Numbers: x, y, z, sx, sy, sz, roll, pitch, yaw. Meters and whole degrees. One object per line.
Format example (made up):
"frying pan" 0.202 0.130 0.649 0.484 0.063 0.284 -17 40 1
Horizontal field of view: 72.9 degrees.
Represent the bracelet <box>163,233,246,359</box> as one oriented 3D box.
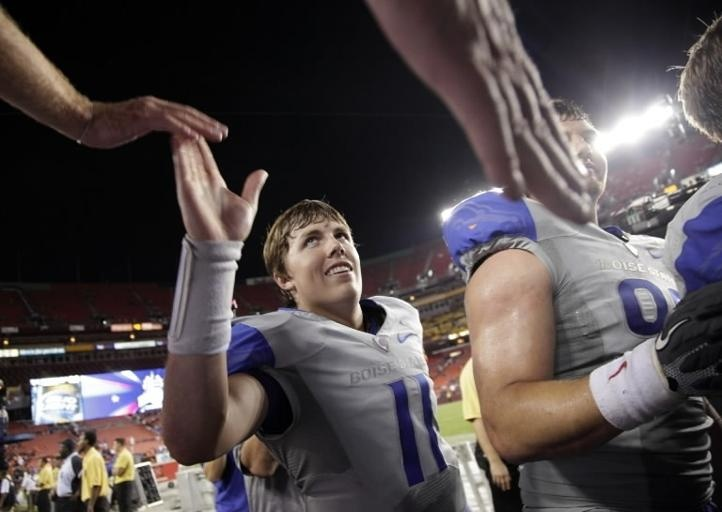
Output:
"bracelet" -0.642 0.134 1.984 0.297 0.501 0.323 8 8 -2
